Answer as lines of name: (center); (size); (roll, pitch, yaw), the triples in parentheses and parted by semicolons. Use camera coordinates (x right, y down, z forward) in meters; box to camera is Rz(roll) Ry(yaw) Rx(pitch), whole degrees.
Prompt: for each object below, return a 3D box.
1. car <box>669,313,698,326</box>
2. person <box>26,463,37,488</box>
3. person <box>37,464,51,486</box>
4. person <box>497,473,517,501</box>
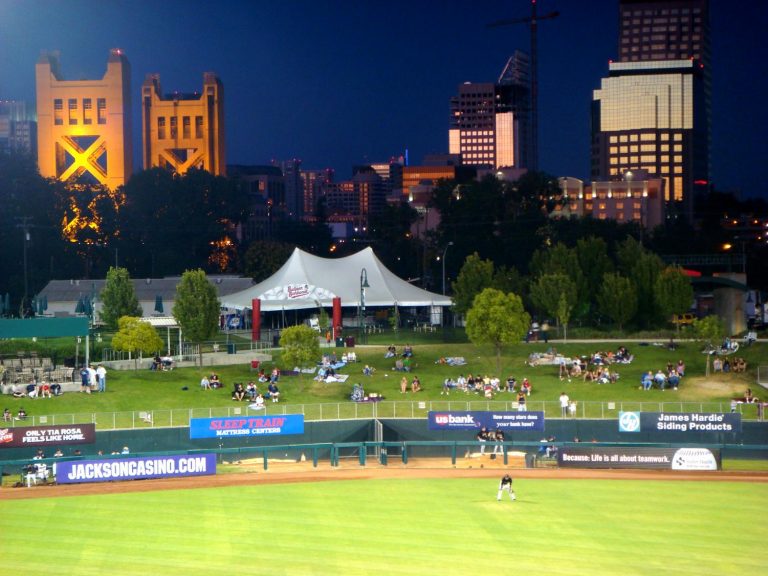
car: (31.565, 3.481, 170.037); (2.626, 1.266, 1.591); (-2, 1, -42)
person: (-27.847, 14.760, 127.326); (0.712, 1.659, 0.425); (0, -1, -24)
person: (-26.840, 14.697, 127.620); (1.114, 1.521, 0.598); (0, -1, -29)
person: (9.455, 15.324, 124.910); (1.255, 2.000, 0.561); (1, 20, -2)
